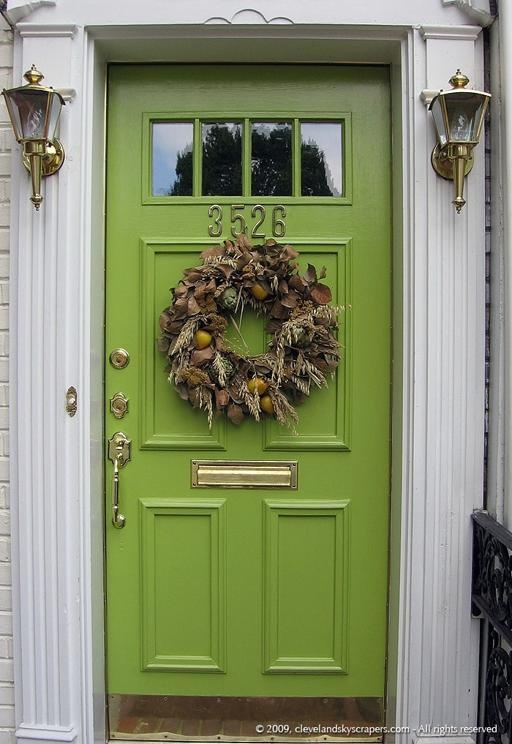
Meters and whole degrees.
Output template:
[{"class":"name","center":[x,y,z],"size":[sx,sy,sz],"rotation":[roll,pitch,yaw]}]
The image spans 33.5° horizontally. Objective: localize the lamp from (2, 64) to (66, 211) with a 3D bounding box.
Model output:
[{"class":"lamp","center":[-0.610,-0.647,2.345],"size":[0.157,0.382,0.217],"rotation":[0,-3,-14]}]

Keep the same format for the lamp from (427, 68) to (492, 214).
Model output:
[{"class":"lamp","center":[0.555,-0.627,2.329],"size":[0.165,0.371,0.216],"rotation":[-2,-3,16]}]
